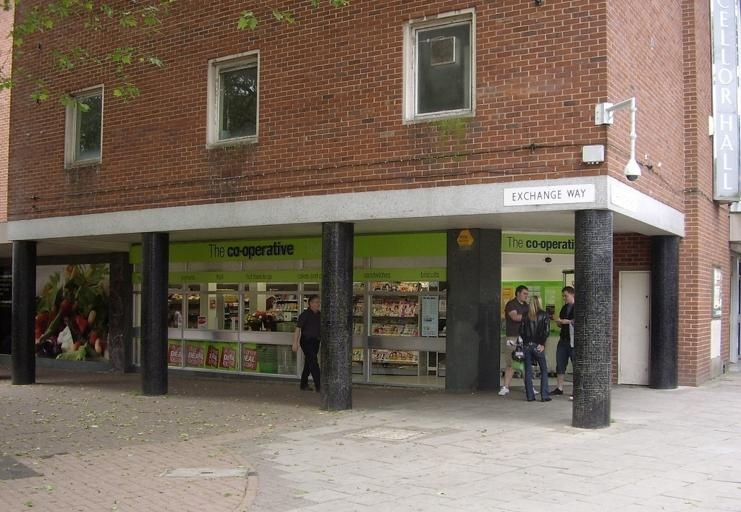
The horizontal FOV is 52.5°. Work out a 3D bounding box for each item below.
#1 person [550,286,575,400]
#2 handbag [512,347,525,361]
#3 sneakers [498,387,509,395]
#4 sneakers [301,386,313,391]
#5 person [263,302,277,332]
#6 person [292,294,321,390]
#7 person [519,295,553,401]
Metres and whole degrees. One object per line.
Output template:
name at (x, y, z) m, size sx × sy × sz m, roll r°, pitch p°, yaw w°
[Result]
person at (4.315, 1.872, 16.798) m, size 0.517 × 2.408 × 1.261 m, roll -2°, pitch -6°, yaw 13°
handbag at (3.144, 2.071, 15.916) m, size 0.198 × 0.281 × 0.101 m, roll 1°, pitch -2°, yaw 32°
sneakers at (2.950, 2.977, 16.539) m, size 0.110 × 0.126 × 0.302 m, roll -5°, pitch -10°, yaw 31°
sneakers at (-1.496, 3.150, 17.888) m, size 0.218 × 0.152 × 0.096 m, roll -12°, pitch -17°, yaw 41°
person at (-2.647, 1.636, 19.914) m, size 0.383 × 0.727 × 0.099 m, roll -5°, pitch -7°, yaw 36°
person at (-1.472, 2.035, 17.454) m, size 0.621 × 2.211 × 1.041 m, roll 0°, pitch -6°, yaw -6°
person at (3.518, 1.960, 15.967) m, size 0.585 × 2.207 × 0.609 m, roll -2°, pitch -6°, yaw 13°
